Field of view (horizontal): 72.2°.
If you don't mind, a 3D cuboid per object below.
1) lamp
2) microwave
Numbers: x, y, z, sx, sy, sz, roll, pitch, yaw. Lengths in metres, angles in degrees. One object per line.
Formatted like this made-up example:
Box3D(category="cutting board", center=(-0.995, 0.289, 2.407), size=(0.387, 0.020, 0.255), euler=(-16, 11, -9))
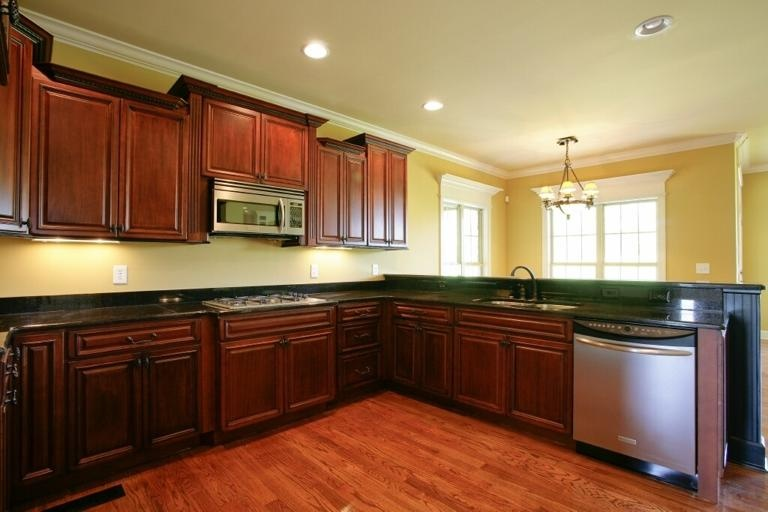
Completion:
Box3D(category="lamp", center=(2.257, -0.938, 6.474), size=(0.755, 0.956, 0.754), euler=(1, 5, 41))
Box3D(category="microwave", center=(-1.271, -0.417, 4.970), size=(0.978, 0.461, 0.493), euler=(2, -1, -41))
